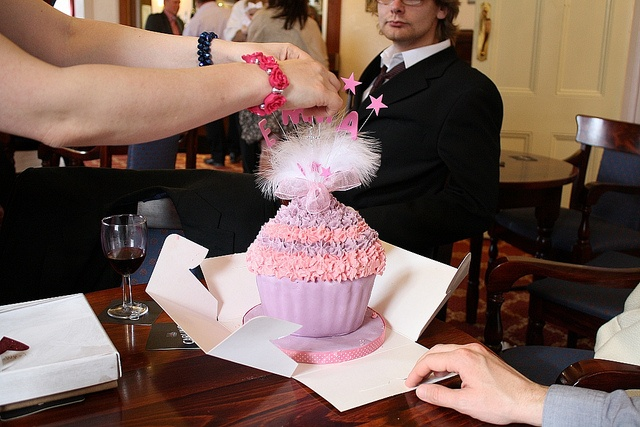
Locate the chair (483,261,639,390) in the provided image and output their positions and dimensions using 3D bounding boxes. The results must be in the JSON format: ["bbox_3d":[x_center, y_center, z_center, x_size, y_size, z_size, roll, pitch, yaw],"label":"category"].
[{"bbox_3d":[0.860,0.382,1.759,0.346,0.534,0.308,15,26,22],"label":"chair"}]

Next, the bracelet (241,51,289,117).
[{"bbox_3d":[-0.145,-0.325,1.314,0.143,0.158,0.035,23,-14,-33],"label":"bracelet"}]
